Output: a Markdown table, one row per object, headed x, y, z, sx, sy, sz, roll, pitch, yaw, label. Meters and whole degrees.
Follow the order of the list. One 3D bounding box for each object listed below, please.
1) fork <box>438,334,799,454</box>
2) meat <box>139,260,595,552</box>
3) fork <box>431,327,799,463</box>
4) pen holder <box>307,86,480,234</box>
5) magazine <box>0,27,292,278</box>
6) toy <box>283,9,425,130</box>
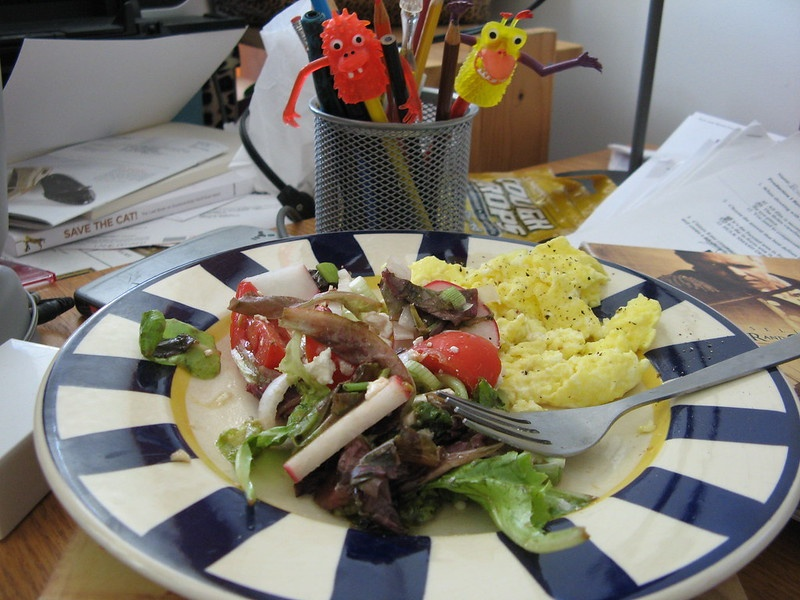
| x | y | z | sx | sy | sz | roll | pitch | yaw | label |
| --- | --- | --- | --- | --- | --- | --- | --- | --- | --- |
| 0.278 | 0.121 | 0.771 | 0.407 | 0.061 | 0.064 | -9 | 32 | -6 | fork |
| -0.039 | 0.117 | 0.759 | 0.356 | 0.142 | 0.386 | -23 | 59 | -42 | meat |
| 0.275 | 0.122 | 0.770 | 0.441 | 0.065 | 0.068 | -10 | 32 | -8 | fork |
| -0.015 | -0.225 | 1.098 | 0.206 | 0.204 | 0.209 | 5 | 24 | -7 | pen holder |
| -0.534 | -0.321 | 1.536 | 0.739 | 0.258 | 0.562 | -16 | 46 | -25 | magazine |
| -0.074 | -0.320 | 0.922 | 0.225 | 0.203 | 0.092 | -4 | 34 | 9 | toy |
